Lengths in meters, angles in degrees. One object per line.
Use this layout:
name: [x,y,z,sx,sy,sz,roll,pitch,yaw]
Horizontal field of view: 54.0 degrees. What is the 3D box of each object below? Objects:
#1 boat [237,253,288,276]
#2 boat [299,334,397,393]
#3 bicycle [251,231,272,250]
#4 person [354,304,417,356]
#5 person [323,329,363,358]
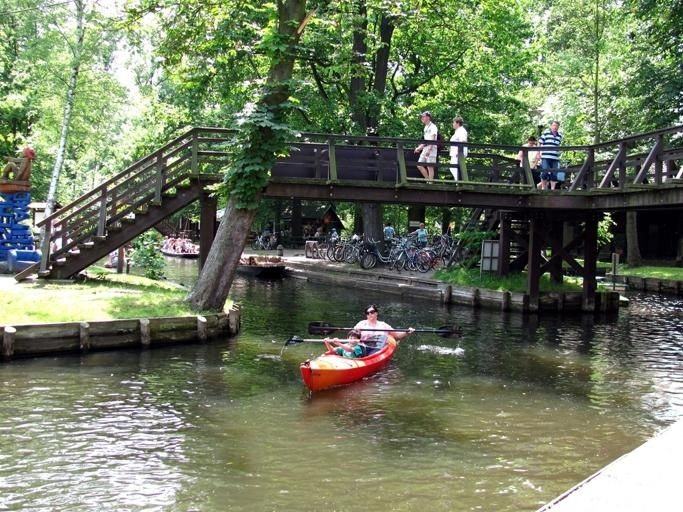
boat: [-4.264,0.616,36.326,2.546,0.884,3.403,1,10,-8]
boat: [0.183,2.270,14.128,0.785,0.493,2.483,7,6,27]
bicycle: [-5.828,-1.172,50.947,1.197,1.006,1.758,5,0,22]
person: [1.164,1.908,17.308,1.588,0.505,1.619,2,0,7]
person: [0.110,1.916,14.550,0.509,0.470,0.739,-12,-31,27]
